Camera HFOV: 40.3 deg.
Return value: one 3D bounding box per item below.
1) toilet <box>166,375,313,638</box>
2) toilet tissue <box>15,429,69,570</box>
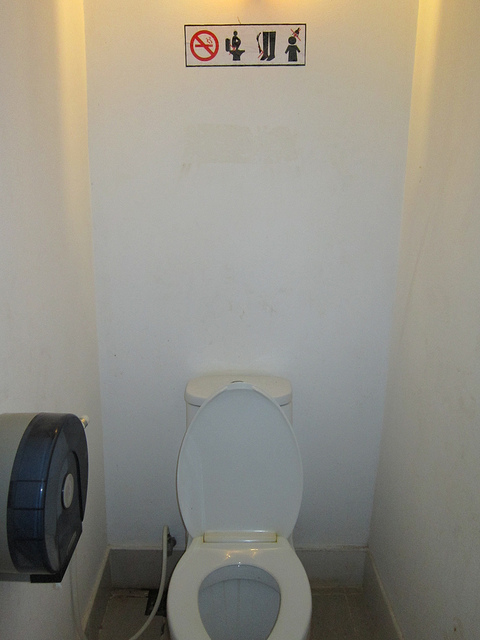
[{"bbox_3d":[-0.026,0.433,1.810,0.293,0.745,0.651,1,28,4],"label":"toilet"},{"bbox_3d":[-0.352,0.310,1.140,0.054,0.167,0.198,-3,13,-1],"label":"toilet tissue"}]
